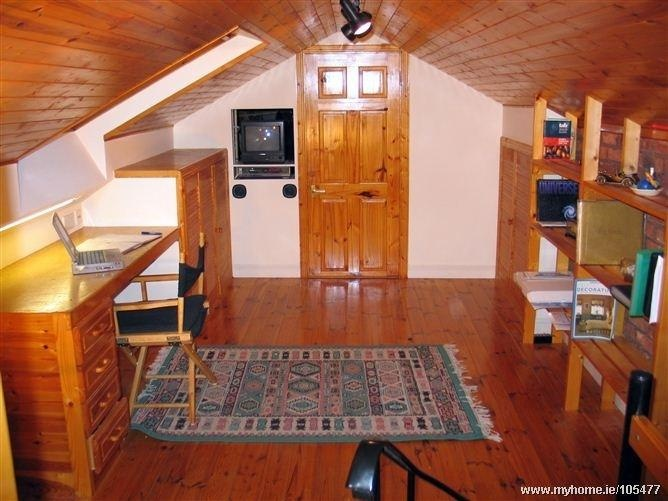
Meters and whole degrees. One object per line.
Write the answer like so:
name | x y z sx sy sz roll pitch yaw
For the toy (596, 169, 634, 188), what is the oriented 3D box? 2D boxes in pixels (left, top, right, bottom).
toy | 1.614 -0.415 2.758 0.165 0.068 0.099 10 15 27

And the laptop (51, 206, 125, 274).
laptop | -1.568 -0.055 3.070 0.376 0.304 0.436 -4 13 -25

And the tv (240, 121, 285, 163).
tv | -0.773 -1.230 5.478 0.560 0.457 0.294 4 16 15

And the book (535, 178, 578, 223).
book | 1.840 -0.396 3.856 0.195 0.310 0.337 -5 6 -43
